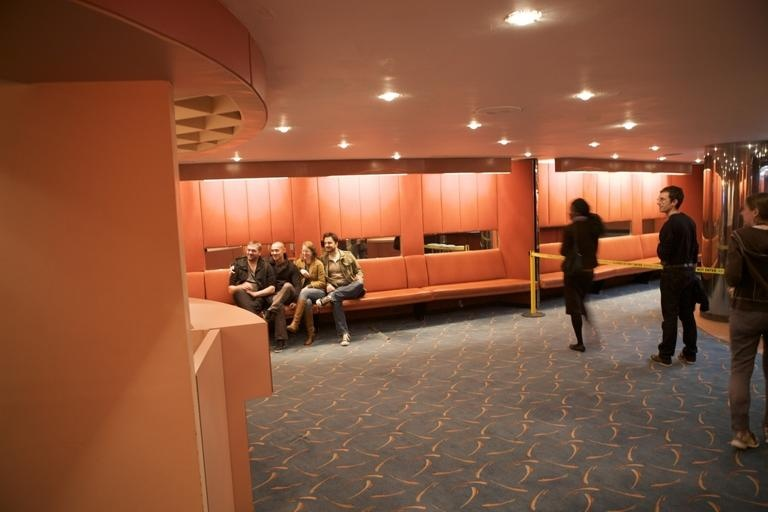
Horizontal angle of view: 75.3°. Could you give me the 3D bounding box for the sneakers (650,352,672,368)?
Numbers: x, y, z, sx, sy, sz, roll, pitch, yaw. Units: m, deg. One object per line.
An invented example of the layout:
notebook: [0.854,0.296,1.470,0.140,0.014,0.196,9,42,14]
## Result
sneakers: [3.231,1.195,5.766,0.106,0.105,0.252,-4,8,-21]

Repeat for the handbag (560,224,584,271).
handbag: [2.308,-0.102,6.156,0.155,0.587,0.260,-9,11,-34]

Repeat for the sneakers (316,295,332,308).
sneakers: [-0.880,0.676,7.493,0.146,0.110,0.336,-2,-2,5]

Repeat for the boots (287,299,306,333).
boots: [-1.299,0.873,7.431,0.272,0.551,0.421,-5,9,-12]

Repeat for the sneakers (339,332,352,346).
sneakers: [-0.562,1.194,7.213,0.143,0.170,0.412,-1,-4,3]

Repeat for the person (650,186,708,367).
person: [3.376,0.229,5.690,0.486,2.050,0.540,2,10,31]

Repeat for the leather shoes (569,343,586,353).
leather shoes: [2.461,1.154,6.351,0.086,0.153,0.195,0,4,-30]

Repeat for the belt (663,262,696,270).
belt: [3.322,0.108,5.591,0.362,0.088,0.131,-2,9,6]
